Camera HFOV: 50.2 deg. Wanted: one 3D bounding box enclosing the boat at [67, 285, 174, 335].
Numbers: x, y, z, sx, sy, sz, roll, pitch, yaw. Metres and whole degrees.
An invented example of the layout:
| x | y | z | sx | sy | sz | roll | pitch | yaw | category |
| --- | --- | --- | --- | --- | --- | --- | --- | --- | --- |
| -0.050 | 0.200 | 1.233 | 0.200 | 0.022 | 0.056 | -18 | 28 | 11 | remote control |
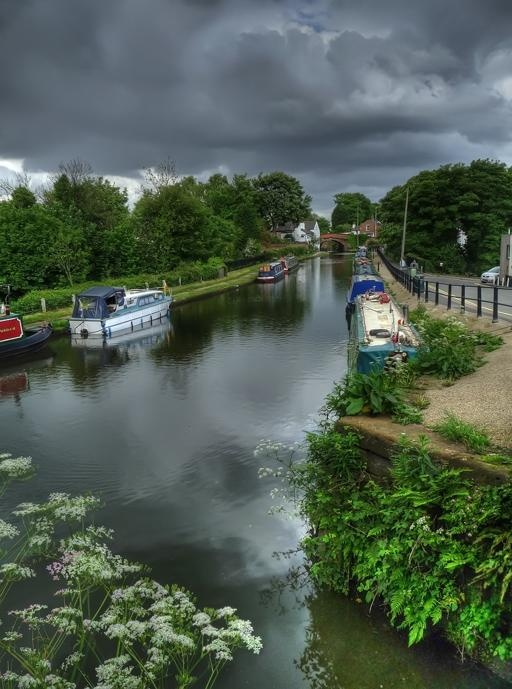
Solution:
| x | y | z | sx | sy | sz | roll | pitch | yaw | category |
| --- | --- | --- | --- | --- | --- | --- | --- | --- | --- |
| -8.990 | -2.545 | 36.276 | 2.510 | 2.643 | 8.642 | 8 | 19 | 20 | boat |

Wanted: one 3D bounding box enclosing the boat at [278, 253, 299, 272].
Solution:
| x | y | z | sx | sy | sz | roll | pitch | yaw | category |
| --- | --- | --- | --- | --- | --- | --- | --- | --- | --- |
| 4.845 | -12.181 | 83.707 | 1.860 | 1.824 | 8.027 | 5 | 24 | 14 | boat |

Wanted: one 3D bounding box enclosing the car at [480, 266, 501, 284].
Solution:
| x | y | z | sx | sy | sz | roll | pitch | yaw | category |
| --- | --- | --- | --- | --- | --- | --- | --- | --- | --- |
| 19.219 | -5.486 | 43.935 | 1.553 | 1.292 | 3.107 | 3 | 7 | 45 | car |

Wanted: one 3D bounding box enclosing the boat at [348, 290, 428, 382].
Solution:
| x | y | z | sx | sy | sz | roll | pitch | yaw | category |
| --- | --- | --- | --- | --- | --- | --- | --- | --- | --- |
| 3.862 | -0.235 | 17.965 | 1.580 | 2.328 | 9.102 | -3 | 7 | 7 | boat |
